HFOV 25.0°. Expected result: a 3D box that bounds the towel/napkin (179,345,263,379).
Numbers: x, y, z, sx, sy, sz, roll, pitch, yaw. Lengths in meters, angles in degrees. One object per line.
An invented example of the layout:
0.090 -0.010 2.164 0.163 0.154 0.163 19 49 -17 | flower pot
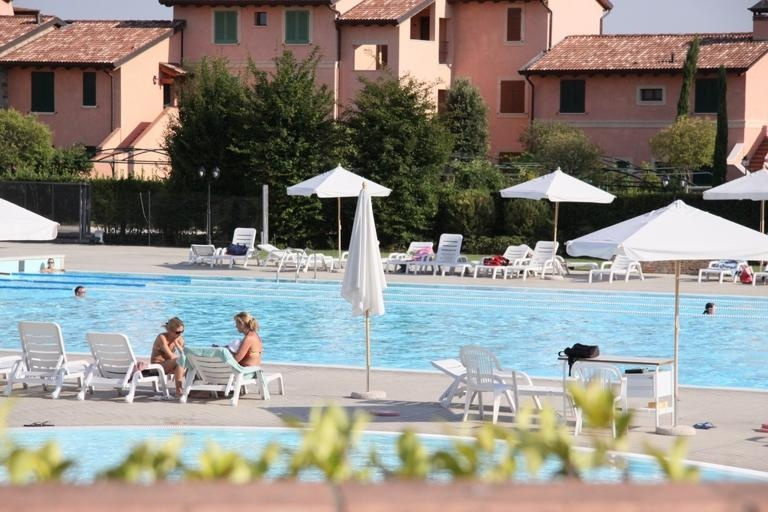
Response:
-4.472 2.948 45.437 1.727 0.928 0.311 2 3 9 | towel/napkin

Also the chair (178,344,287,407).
-3.950 3.286 46.228 2.102 1.726 2.531 0 -4 5 | chair

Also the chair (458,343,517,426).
3.254 3.349 44.645 1.579 2.563 1.928 3 5 36 | chair

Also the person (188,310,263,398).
-4.029 2.607 46.082 1.272 2.077 1.030 7 -2 -8 | person

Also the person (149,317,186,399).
-5.714 2.799 46.131 1.161 2.103 0.788 5 6 38 | person

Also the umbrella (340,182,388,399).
-0.575 0.943 46.378 1.275 5.815 1.281 0 -4 -5 | umbrella

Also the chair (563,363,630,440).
5.393 3.830 43.731 1.960 2.629 1.930 1 5 21 | chair
